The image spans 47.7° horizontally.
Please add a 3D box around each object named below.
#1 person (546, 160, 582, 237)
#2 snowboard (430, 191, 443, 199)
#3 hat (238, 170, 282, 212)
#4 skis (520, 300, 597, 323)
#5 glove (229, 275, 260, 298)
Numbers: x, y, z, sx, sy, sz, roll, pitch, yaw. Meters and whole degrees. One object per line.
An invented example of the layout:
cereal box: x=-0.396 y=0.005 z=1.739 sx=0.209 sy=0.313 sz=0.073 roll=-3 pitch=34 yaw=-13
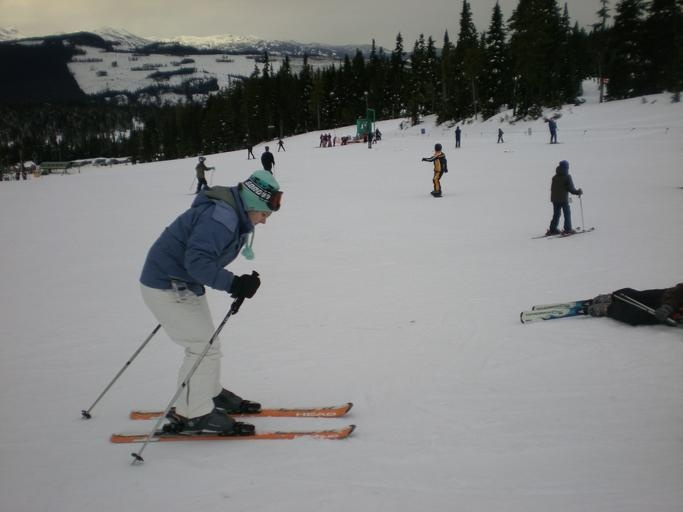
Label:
person: x=5.164 y=-1.407 z=18.063 sx=0.767 sy=1.737 sz=1.392 roll=-2 pitch=11 yaw=17
snowboard: x=2.838 y=-1.845 z=23.113 sx=0.277 sy=0.177 sz=0.511 roll=-1 pitch=1 yaw=3
hat: x=-1.179 y=-0.941 z=11.160 sx=0.625 sy=0.609 sz=0.476 roll=-1 pitch=31 yaw=-11
skis: x=3.863 y=0.982 z=13.660 sx=1.283 sy=0.296 sz=0.239 roll=-7 pitch=1 yaw=-1
glove: x=-1.386 y=0.402 z=11.008 sx=0.426 sy=0.384 sz=0.260 roll=-7 pitch=11 yaw=-9
